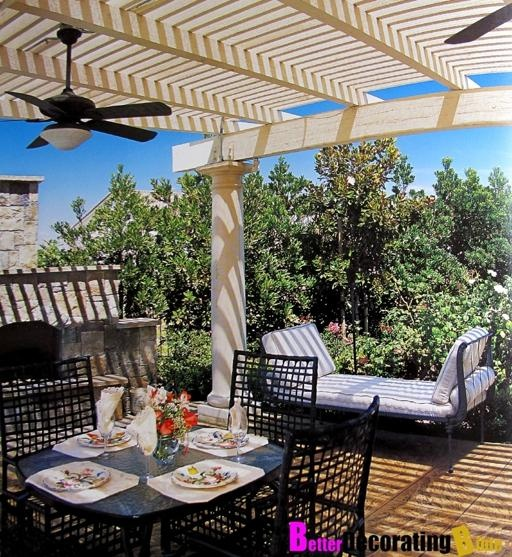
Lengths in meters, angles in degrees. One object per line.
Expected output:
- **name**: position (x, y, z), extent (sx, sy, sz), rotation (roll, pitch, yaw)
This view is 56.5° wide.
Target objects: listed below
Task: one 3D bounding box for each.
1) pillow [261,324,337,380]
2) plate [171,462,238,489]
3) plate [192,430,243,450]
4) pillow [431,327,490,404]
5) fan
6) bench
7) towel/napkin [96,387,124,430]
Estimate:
- **pillow**: position (0.482, 0.749, 5.001), extent (0.192, 0.549, 0.830), rotation (-35, -19, 36)
- **plate**: position (-0.190, 0.699, 1.697), extent (0.120, 0.048, 0.199), rotation (1, 0, 45)
- **plate**: position (-0.182, 0.739, 2.184), extent (0.143, 0.022, 0.132), rotation (2, -1, 10)
- **pillow**: position (1.728, 0.722, 3.980), extent (0.279, 0.573, 0.730), rotation (0, -3, 41)
- **fan**: position (-1.105, -1.016, 3.120), extent (1.139, 0.621, 1.046), rotation (-2, 2, -15)
- **bench**: position (1.130, 0.848, 4.566), extent (1.943, 0.919, 1.469), rotation (-1, -1, 33)
- **towel/napkin**: position (-0.633, 0.566, 2.038), extent (0.104, 0.217, 0.227), rotation (3, -3, -18)
